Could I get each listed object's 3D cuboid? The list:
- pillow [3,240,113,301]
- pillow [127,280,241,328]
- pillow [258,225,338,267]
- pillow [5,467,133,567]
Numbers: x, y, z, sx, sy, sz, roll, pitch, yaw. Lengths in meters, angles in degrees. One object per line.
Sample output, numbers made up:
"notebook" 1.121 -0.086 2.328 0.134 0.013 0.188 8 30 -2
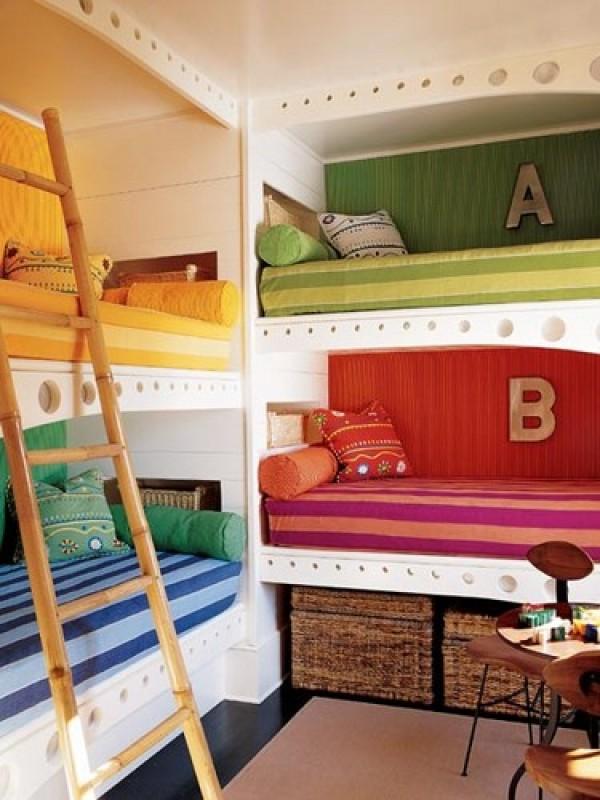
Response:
"pillow" -0.921 -0.465 2.347 0.345 0.188 0.398 6 -1 -45
"pillow" -0.460 -0.428 2.617 0.478 0.187 0.209 6 22 21
"pillow" -0.010 -0.700 3.023 0.141 0.142 0.464 -32 -10 20
"pillow" -0.922 0.494 2.635 0.509 0.496 0.149 -2 -34 -41
